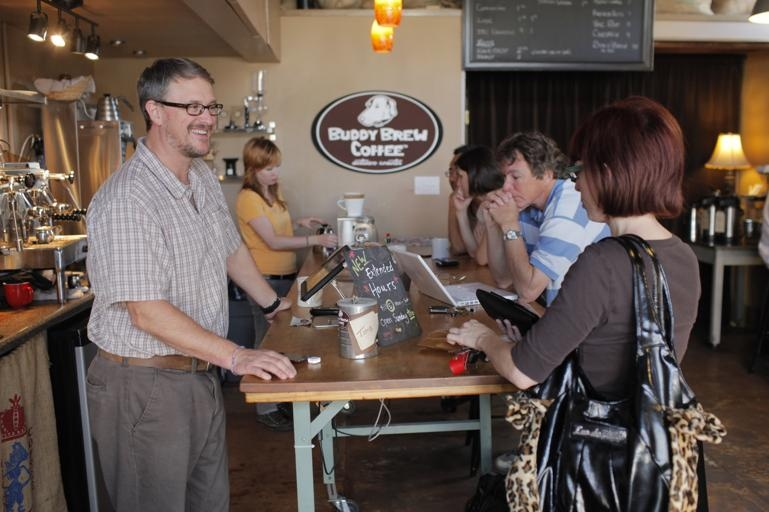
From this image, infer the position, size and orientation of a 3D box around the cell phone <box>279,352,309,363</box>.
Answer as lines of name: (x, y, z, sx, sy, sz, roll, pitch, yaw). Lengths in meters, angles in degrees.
cell phone: (-0.352, 0.391, 2.431, 0.079, 0.010, 0.046, 7, 10, 6)

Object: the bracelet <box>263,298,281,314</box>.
bracelet: (-0.516, 0.228, 2.936, 0.073, 0.029, 0.073, -40, 17, -22)

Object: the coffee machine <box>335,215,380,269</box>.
coffee machine: (-0.182, -0.146, 4.248, 0.372, 0.351, 0.222, -2, 7, -5)

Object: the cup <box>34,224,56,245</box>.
cup: (-1.898, -0.127, 3.536, 0.080, 0.119, 0.131, 1, -4, -22)

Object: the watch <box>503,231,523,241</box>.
watch: (0.625, -0.105, 3.106, 0.066, 0.045, 0.063, -1, 1, 17)

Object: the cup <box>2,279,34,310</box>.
cup: (-1.847, 0.191, 3.164, 0.153, 0.108, 0.120, 4, 0, 14)

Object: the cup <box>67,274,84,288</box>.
cup: (-1.682, 0.131, 3.419, 0.082, 0.083, 0.078, -2, -6, 0)

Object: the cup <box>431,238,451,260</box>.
cup: (0.371, -0.053, 4.256, 0.150, 0.123, 0.108, 1, 1, -5)

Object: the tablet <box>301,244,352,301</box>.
tablet: (-0.278, 0.103, 2.839, 0.259, 0.024, 0.144, -42, 12, 11)

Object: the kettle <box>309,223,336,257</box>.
kettle: (-0.424, -0.129, 4.502, 0.188, 0.230, 0.251, 1, -3, -4)

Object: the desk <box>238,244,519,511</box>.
desk: (0.005, 0.146, 2.751, 1.145, 0.959, 2.003, -2, 8, -4)

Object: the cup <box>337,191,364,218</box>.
cup: (-0.271, -0.405, 4.709, 0.226, 0.201, 0.300, -1, -2, -6)

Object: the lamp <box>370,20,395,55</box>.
lamp: (-0.046, -1.507, 4.310, 0.208, 0.180, 0.194, -1, 16, -7)

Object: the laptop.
laptop: (0.350, 0.138, 3.147, 0.372, 0.155, 0.380, -2, 6, -17)

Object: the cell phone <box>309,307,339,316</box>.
cell phone: (-0.256, 0.229, 2.624, 0.096, 0.026, 0.069, 0, 1, -6)
